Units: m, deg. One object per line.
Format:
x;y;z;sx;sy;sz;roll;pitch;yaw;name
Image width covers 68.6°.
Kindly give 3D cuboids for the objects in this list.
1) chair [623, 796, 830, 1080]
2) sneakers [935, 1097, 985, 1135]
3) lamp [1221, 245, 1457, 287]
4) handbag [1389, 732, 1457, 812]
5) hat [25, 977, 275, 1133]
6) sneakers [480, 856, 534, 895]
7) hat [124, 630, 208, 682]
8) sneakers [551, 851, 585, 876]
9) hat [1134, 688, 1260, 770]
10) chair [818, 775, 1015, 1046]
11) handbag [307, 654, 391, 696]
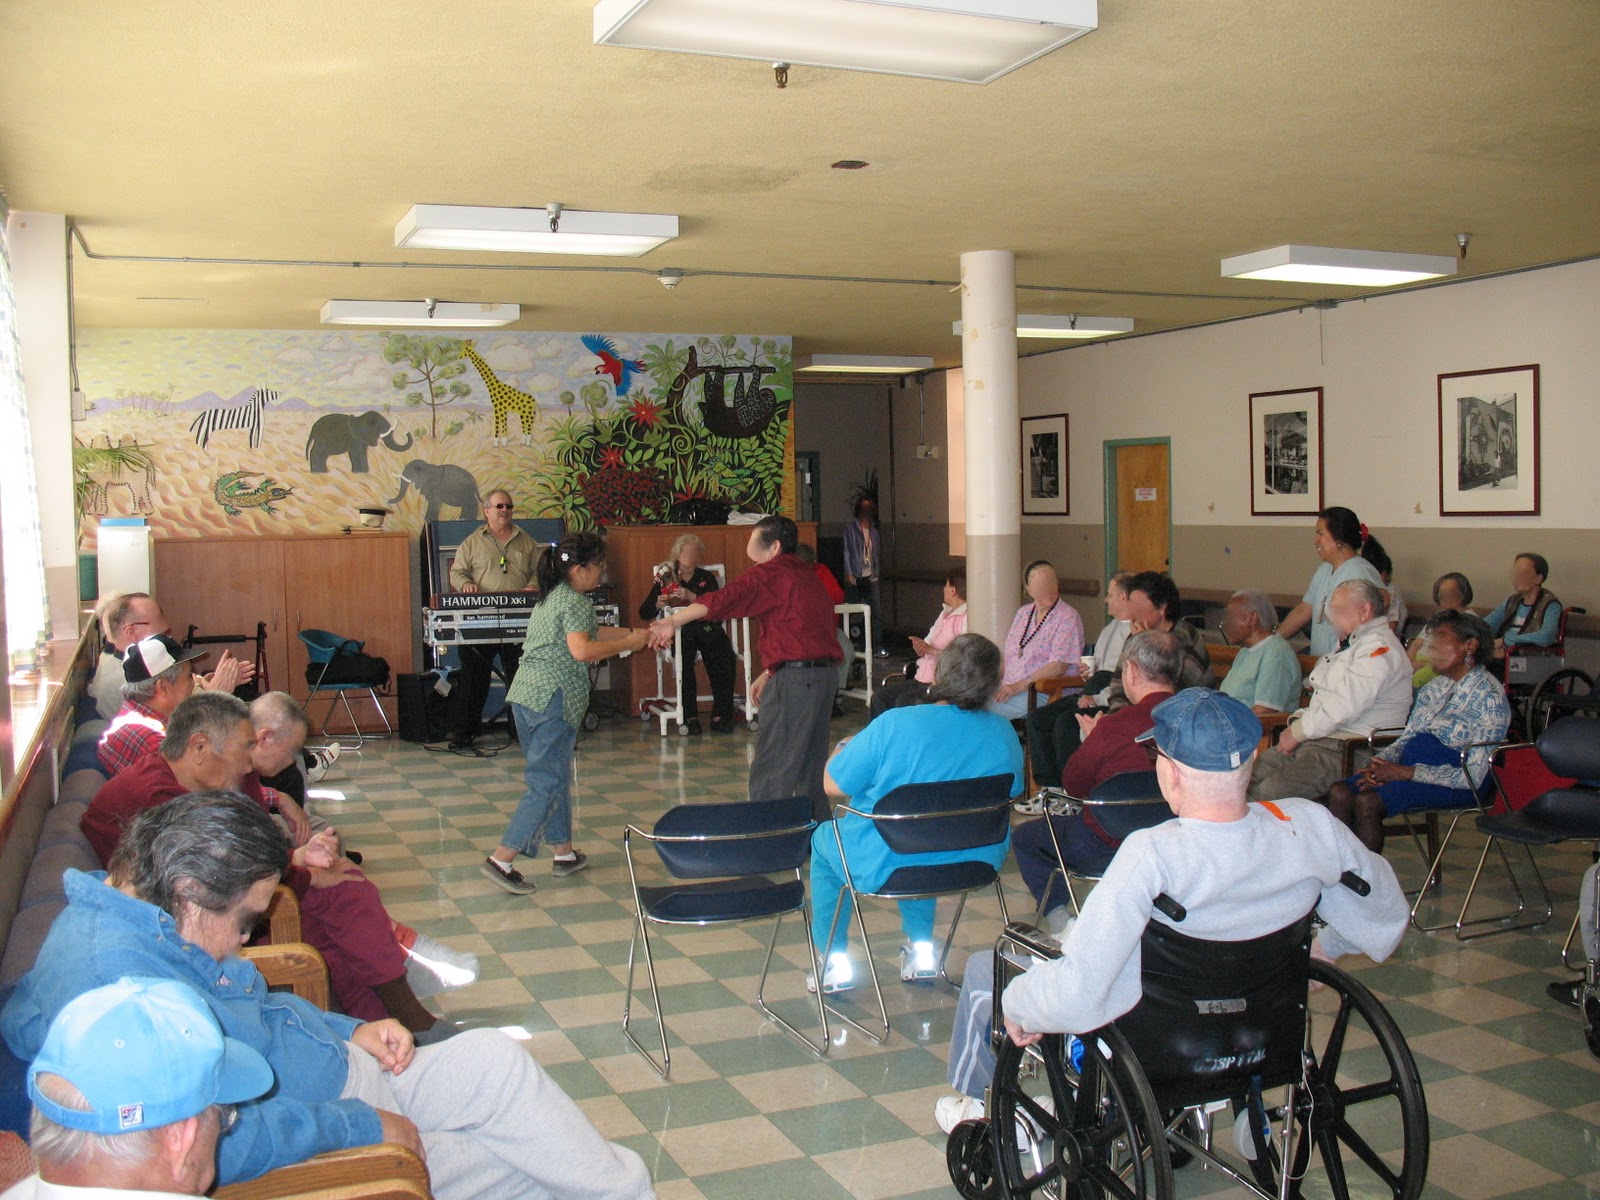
-0.327;1.313;4.776;0.806;0.981;0.714;1;-6;-30;chair
0.515;1.662;3.808;0.097;0.111;0.249;4;-3;-14;sneakers
4.225;-2.656;9.232;1.846;0.211;0.658;-2;5;-18;lamp
3.185;0.866;6.090;0.420;0.380;0.164;0;2;-18;handbag
-1.036;0.755;1.902;0.341;0.180;0.247;3;15;-40;hat
-1.666;1.548;6.675;0.141;0.336;0.123;-46;9;5;sneakers
-2.668;0.235;4.929;0.164;0.137;0.258;5;17;30;hat
-1.379;1.551;6.933;0.091;0.095;0.229;1;5;15;sneakers
0.982;0.308;2.926;0.183;0.107;0.238;-7;19;-11;hat
0.530;1.181;4.780;0.687;0.870;0.610;-3;-10;-10;chair
-4.169;0.667;10.781;0.494;0.198;0.479;1;0;0;handbag
